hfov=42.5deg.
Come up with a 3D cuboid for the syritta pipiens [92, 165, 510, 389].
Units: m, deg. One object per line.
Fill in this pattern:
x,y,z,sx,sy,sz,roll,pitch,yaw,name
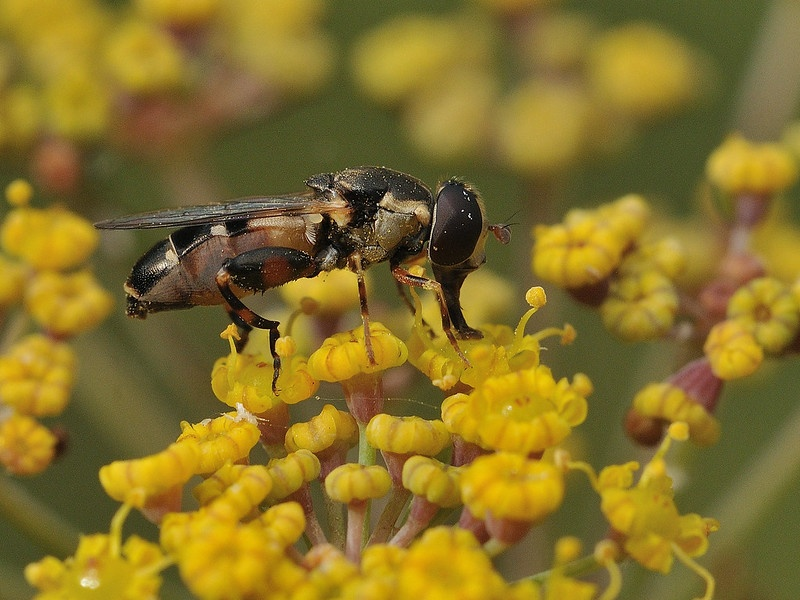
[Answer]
-0.182,-0.082,2.126,0.641,0.393,0.441,-2,8,23,syritta pipiens
